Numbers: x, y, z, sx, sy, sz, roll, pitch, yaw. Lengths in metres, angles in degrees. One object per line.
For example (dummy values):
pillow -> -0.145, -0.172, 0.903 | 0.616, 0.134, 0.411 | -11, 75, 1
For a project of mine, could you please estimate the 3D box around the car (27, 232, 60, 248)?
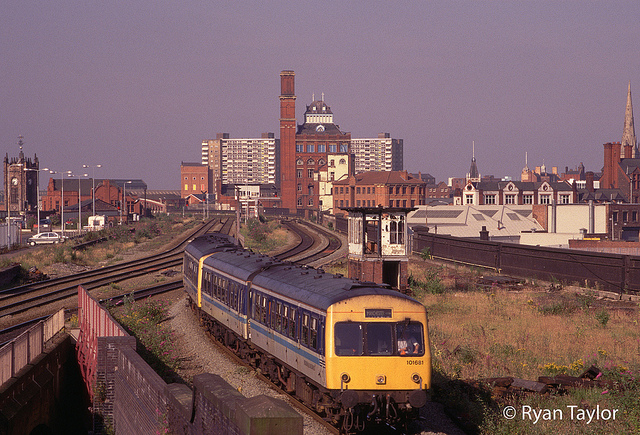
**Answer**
car -> -26.627, 2.089, 79.629 | 2.671, 1.241, 1.908 | 1, 2, -12

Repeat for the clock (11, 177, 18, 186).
clock -> -56.079, -6.786, 151.114 | 1.797, 1.292, 0.815 | 5, 9, 40

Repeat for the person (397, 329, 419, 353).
person -> 3.053, 4.256, 28.157 | 0.732, 0.735, 0.264 | -1, 7, -1

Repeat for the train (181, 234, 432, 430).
train -> -1.426, 4.281, 34.617 | 3.852, 5.067, 17.230 | -4, 8, -27

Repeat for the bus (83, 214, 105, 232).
bus -> -28.700, 0.108, 104.708 | 2.440, 2.927, 4.637 | 0, -3, -15
